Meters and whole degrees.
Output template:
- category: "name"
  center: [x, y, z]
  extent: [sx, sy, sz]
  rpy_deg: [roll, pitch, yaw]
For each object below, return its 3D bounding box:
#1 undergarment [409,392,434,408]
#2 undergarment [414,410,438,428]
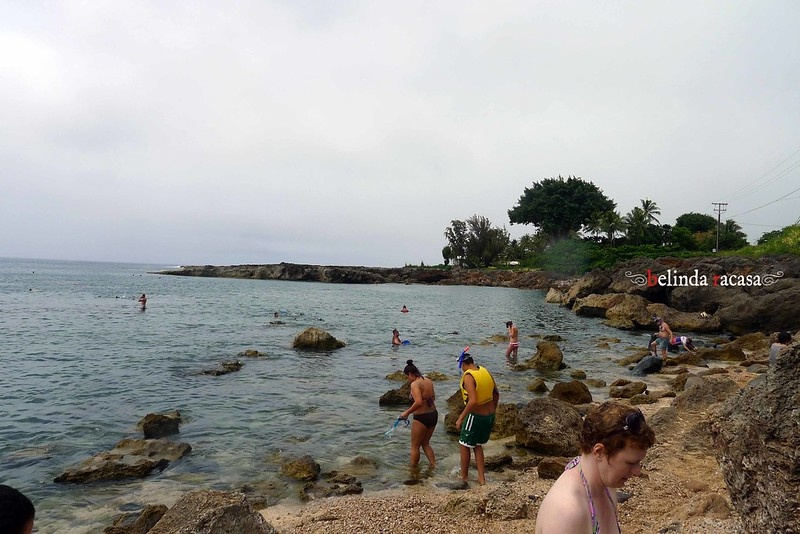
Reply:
- category: "undergarment"
  center: [0.516, 3.138, 11.628]
  extent: [0.472, 0.199, 0.352]
  rpy_deg: [-4, -6, 8]
- category: "undergarment"
  center: [0.609, 3.563, 11.645]
  extent: [0.613, 0.383, 0.413]
  rpy_deg: [-2, 4, -22]
